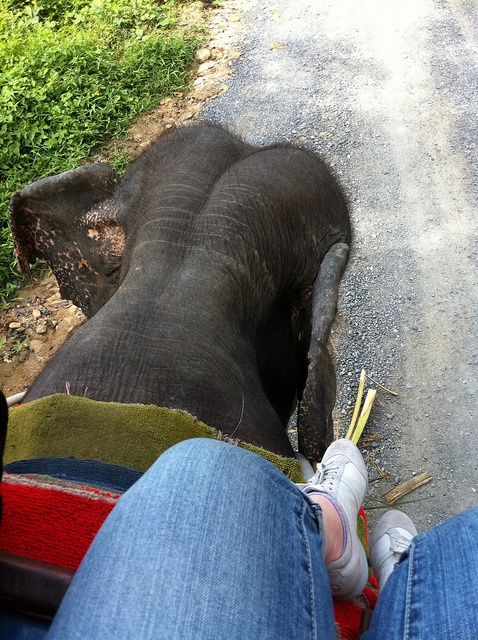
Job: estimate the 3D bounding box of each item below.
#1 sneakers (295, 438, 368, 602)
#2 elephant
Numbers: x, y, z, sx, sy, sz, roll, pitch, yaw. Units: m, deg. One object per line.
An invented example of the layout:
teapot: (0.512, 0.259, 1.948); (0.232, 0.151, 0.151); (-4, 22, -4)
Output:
sneakers: (0.239, 0.557, 1.698); (0.162, 0.206, 0.505); (-28, 30, 23)
elephant: (-0.060, -0.264, 2.014); (0.806, 0.814, 1.349); (13, 70, 12)
